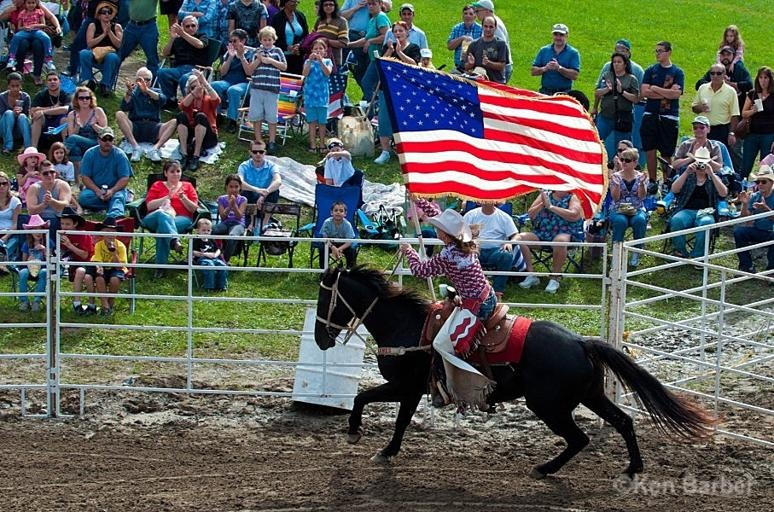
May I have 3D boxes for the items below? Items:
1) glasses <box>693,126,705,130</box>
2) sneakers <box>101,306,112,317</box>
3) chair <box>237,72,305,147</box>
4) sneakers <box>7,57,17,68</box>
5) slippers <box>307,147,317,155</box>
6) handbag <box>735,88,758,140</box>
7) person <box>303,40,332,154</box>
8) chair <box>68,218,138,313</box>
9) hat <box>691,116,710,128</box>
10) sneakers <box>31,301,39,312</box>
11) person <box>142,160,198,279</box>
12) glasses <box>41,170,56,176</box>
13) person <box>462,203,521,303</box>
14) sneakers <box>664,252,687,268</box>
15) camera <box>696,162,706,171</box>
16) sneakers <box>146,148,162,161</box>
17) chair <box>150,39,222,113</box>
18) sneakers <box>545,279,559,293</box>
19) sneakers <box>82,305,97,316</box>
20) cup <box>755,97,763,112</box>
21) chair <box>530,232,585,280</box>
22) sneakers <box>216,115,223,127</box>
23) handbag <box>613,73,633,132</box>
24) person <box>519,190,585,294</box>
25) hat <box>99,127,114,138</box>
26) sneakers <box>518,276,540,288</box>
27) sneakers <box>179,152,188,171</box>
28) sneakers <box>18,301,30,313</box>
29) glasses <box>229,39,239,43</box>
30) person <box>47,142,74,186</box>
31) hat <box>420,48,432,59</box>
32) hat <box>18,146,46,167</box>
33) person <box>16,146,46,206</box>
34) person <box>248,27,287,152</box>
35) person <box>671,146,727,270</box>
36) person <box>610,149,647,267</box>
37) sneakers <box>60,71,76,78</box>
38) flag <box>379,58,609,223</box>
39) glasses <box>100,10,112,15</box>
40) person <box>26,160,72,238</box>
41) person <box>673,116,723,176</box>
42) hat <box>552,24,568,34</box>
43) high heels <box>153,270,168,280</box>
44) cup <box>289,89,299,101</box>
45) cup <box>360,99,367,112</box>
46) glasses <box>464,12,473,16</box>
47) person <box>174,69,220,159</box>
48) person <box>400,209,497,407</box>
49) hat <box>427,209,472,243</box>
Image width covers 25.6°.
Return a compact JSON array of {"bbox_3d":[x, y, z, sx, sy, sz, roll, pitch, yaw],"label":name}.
[{"bbox_3d":[5.828,-2.404,32.134,0.217,0.075,0.084,5,5,40],"label":"glasses"},{"bbox_3d":[-4.916,1.017,29.837,0.210,0.184,0.164,2,4,-10],"label":"sneakers"},{"bbox_3d":[-2.285,-2.966,34.563,0.937,0.913,1.479,11,24,21],"label":"chair"},{"bbox_3d":[-7.827,-4.034,35.651,0.159,0.215,0.301,4,4,30],"label":"sneakers"},{"bbox_3d":[-1.542,-2.111,34.703,0.151,0.136,0.370,0,-4,3],"label":"slippers"},{"bbox_3d":[7.013,-2.716,33.503,0.215,0.825,0.519,16,1,31],"label":"handbag"},{"bbox_3d":[-1.445,-3.246,34.631,0.582,2.285,0.643,3,3,1],"label":"person"},{"bbox_3d":[-5.027,0.079,30.136,1.335,1.290,2.377,2,16,-3],"label":"chair"},{"bbox_3d":[5.908,-2.534,32.283,0.274,0.187,0.417,3,4,14],"label":"hat"},{"bbox_3d":[-6.171,0.920,29.942,0.121,0.205,0.121,2,3,-11],"label":"sneakers"},{"bbox_3d":[-3.990,-0.664,31.237,0.974,2.120,1.244,2,3,-6],"label":"person"},{"bbox_3d":[-6.160,-1.493,31.092,0.285,0.105,0.150,-1,5,-40],"label":"glasses"},{"bbox_3d":[1.747,-0.207,30.695,1.185,1.995,1.281,-2,17,-4],"label":"person"},{"bbox_3d":[4.977,0.104,29.540,0.107,0.253,0.262,36,-18,-33],"label":"sneakers"},{"bbox_3d":[5.800,-1.642,31.668,0.042,0.140,0.160,0,4,-40],"label":"camera"},{"bbox_3d":[-4.627,-1.983,33.857,0.236,0.269,0.286,0,4,-36],"label":"sneakers"},{"bbox_3d":[-4.129,-3.773,35.206,1.423,1.410,1.342,3,19,-10],"label":"chair"},{"bbox_3d":[2.965,0.571,30.884,0.161,0.122,0.322,-1,12,17],"label":"sneakers"},{"bbox_3d":[-5.226,0.973,29.899,0.267,0.200,0.186,2,4,-5],"label":"sneakers"},{"bbox_3d":[7.210,-2.916,33.209,0.167,0.253,0.091,3,3,8],"label":"cup"},{"bbox_3d":[2.994,-0.034,31.337,1.022,1.150,0.919,-2,3,-19],"label":"chair"},{"bbox_3d":[-3.464,-2.782,35.310,0.094,0.299,0.171,-3,-13,5],"label":"sneakers"},{"bbox_3d":[4.659,-2.972,33.816,0.368,1.075,0.264,0,4,-38],"label":"handbag"},{"bbox_3d":[2.948,-0.506,31.088,1.109,2.393,1.340,2,-5,28],"label":"person"},{"bbox_3d":[-5.292,-2.296,32.095,0.251,0.196,0.266,1,4,-15],"label":"hat"},{"bbox_3d":[2.563,0.507,30.948,0.399,0.157,0.163,-10,16,-12],"label":"sneakers"},{"bbox_3d":[-4.035,-1.838,33.755,0.125,0.343,0.140,-3,-15,2],"label":"sneakers"},{"bbox_3d":[-6.377,0.944,29.941,0.205,0.200,0.489,1,-1,-11],"label":"sneakers"},{"bbox_3d":[-3.145,-4.366,34.604,0.082,0.075,0.231,0,4,-32],"label":"glasses"},{"bbox_3d":[-6.278,-1.703,32.513,0.607,0.836,0.517,0,0,4],"label":"person"},{"bbox_3d":[0.747,-3.985,33.754,0.188,0.179,0.318,2,4,-5],"label":"hat"},{"bbox_3d":[-6.747,-1.886,32.300,0.418,0.163,0.440,-11,-1,-10],"label":"hat"},{"bbox_3d":[-6.682,-1.490,32.101,0.585,1.028,0.654,-2,-1,-9],"label":"person"},{"bbox_3d":[-2.447,-3.335,34.421,0.732,2.539,0.545,2,3,-5],"label":"person"},{"bbox_3d":[5.747,-0.863,31.685,0.968,2.242,1.052,2,3,-8],"label":"person"},{"bbox_3d":[4.478,-1.067,31.892,0.719,1.852,0.665,3,3,8],"label":"person"},{"bbox_3d":[-6.698,-3.792,35.784,0.219,0.073,0.211,7,16,2],"label":"sneakers"},{"bbox_3d":[1.769,-1.916,27.108,4.135,2.407,0.435,6,20,36],"label":"flag"},{"bbox_3d":[-5.923,-5.107,35.621,0.256,0.100,0.137,2,4,1],"label":"glasses"},{"bbox_3d":[-6.219,-0.847,31.226,0.809,1.588,0.905,-1,22,-6],"label":"person"},{"bbox_3d":[5.821,-1.933,32.303,0.999,1.430,0.828,5,-1,25],"label":"person"},{"bbox_3d":[3.499,-4.634,34.669,0.305,0.206,0.429,2,-5,20],"label":"hat"},{"bbox_3d":[-4.135,0.384,30.995,0.167,0.157,0.390,0,-3,-5],"label":"high heels"},{"bbox_3d":[-1.917,-3.283,34.802,0.186,0.123,0.175,1,2,0],"label":"cup"},{"bbox_3d":[-0.510,-3.085,35.108,0.235,0.237,0.170,0,5,-8],"label":"cup"},{"bbox_3d":[1.680,-5.027,35.452,0.150,0.082,0.065,2,3,-9],"label":"glasses"},{"bbox_3d":[-3.749,-2.718,33.879,0.462,1.881,0.836,5,4,42],"label":"person"},{"bbox_3d":[1.032,0.856,26.440,1.326,3.117,0.479,3,3,2],"label":"person"},{"bbox_3d":[0.957,-0.445,26.339,0.678,0.514,0.353,2,3,1],"label":"hat"}]
